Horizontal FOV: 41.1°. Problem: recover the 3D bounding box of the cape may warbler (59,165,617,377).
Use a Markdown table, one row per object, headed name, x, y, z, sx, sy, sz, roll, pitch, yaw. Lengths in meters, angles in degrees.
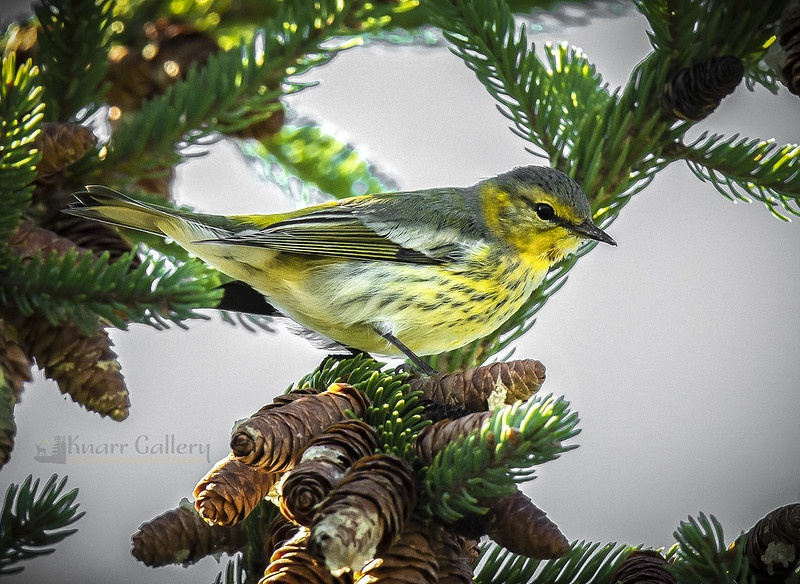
| name | x | y | z | sx | sy | sz | roll | pitch | yaw |
| --- | --- | --- | --- | --- | --- | --- | --- | --- | --- |
| cape may warbler | -0.236 | -0.083 | 3.762 | 1.486 | 0.634 | 0.388 | 6 | -32 | -11 |
